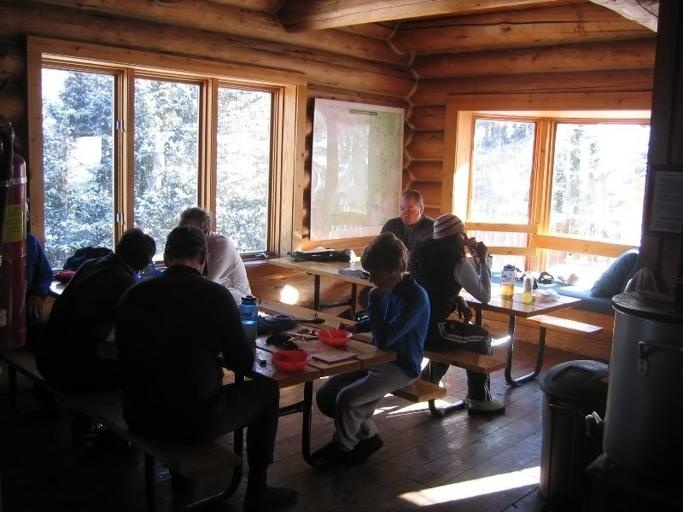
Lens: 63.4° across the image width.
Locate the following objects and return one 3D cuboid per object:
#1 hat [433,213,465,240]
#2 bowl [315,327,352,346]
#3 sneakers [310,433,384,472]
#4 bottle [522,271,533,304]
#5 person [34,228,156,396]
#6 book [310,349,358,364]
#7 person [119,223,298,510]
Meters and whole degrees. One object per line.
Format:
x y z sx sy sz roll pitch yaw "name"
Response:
0.959 -0.264 4.896 0.241 0.141 0.232 -18 17 -34 "hat"
-0.052 0.566 3.857 0.207 0.073 0.204 3 12 -1 "bowl"
0.022 1.422 4.093 0.533 0.201 0.189 -4 11 -31 "sneakers"
1.814 0.312 5.367 0.111 0.255 0.257 7 13 17 "bottle"
-1.632 0.353 3.967 0.886 1.072 0.848 15 6 41 "person"
-0.057 0.652 3.579 0.294 0.018 0.189 -3 13 -27 "book"
-0.800 0.781 3.151 0.906 1.445 0.313 0 13 -16 "person"
